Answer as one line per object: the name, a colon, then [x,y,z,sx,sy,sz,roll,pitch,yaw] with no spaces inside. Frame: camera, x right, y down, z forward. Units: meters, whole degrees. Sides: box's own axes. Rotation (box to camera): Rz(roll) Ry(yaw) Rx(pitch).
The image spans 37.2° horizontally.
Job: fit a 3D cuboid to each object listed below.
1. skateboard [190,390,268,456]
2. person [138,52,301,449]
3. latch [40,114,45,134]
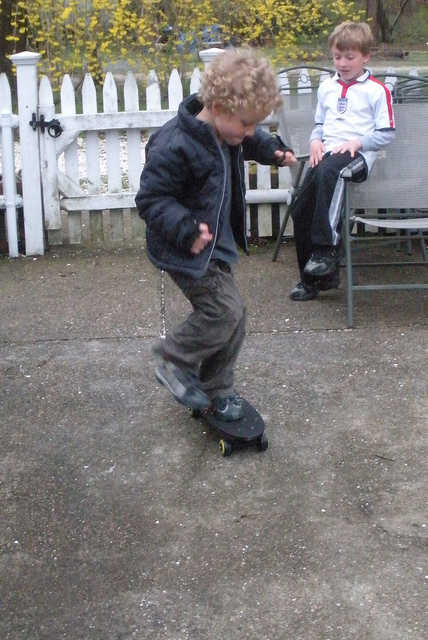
skateboard: [0.087,0.410,2.395,0.200,0.160,0.261,-5,9,-17]
person: [-0.016,-0.174,2.187,0.460,1.368,0.495,-3,9,-6]
latch: [-1.319,-1.505,4.870,0.041,0.135,0.060,-5,9,-13]
